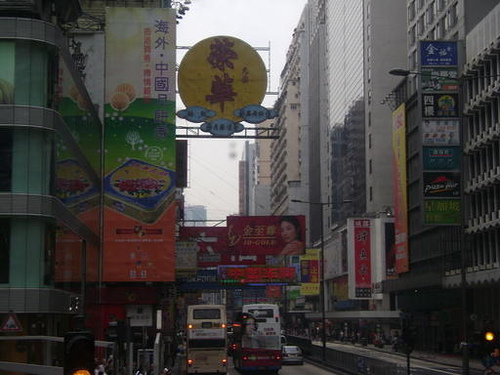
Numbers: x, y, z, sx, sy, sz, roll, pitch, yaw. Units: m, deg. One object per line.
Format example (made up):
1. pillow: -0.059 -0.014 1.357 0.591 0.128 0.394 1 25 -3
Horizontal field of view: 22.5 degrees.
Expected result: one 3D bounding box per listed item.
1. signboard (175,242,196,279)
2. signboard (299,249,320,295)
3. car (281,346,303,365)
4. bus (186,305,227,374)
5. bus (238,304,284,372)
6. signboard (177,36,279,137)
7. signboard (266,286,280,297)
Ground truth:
1. signboard: -5.036 6.063 108.947 2.164 2.955 2.953 0 -4 19
2. signboard: 6.276 9.109 132.810 1.861 5.773 1.342 -2 -8 -4
3. car: 3.258 13.142 99.106 1.601 1.437 1.397 2 -11 -8
4. bus: -3.081 10.715 89.283 2.762 4.726 1.035 3 -11 -12
5. bus: 0.637 10.987 91.961 3.079 4.543 2.817 0 -10 -9
6. signboard: -2.047 -8.294 104.519 8.768 8.964 0.685 0 18 1
7. signboard: 2.622 11.766 142.798 1.862 0.503 2.042 0 4 -4
